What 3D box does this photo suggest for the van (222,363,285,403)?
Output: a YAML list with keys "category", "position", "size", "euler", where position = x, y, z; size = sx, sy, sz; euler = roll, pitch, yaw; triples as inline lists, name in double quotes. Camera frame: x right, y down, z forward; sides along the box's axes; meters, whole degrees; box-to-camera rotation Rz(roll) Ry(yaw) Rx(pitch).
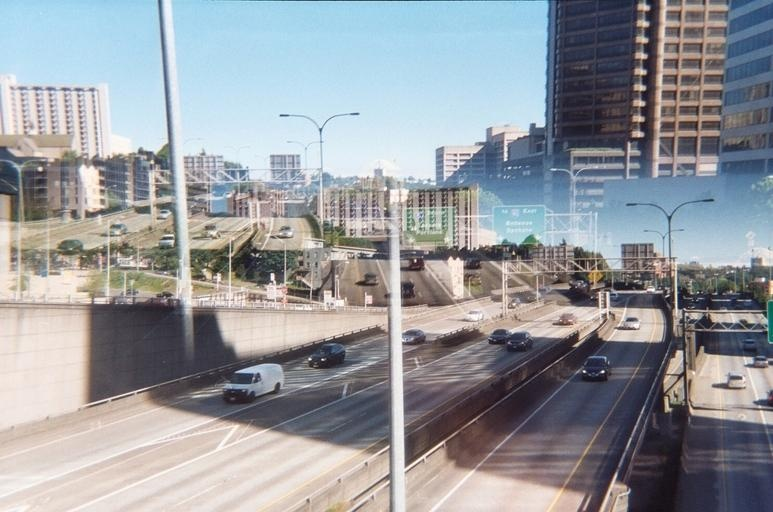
- category: "van"
  position: [-11.904, 11.372, 73.389]
  size: [3.296, 2.395, 6.336]
  euler: [0, 3, 23]
